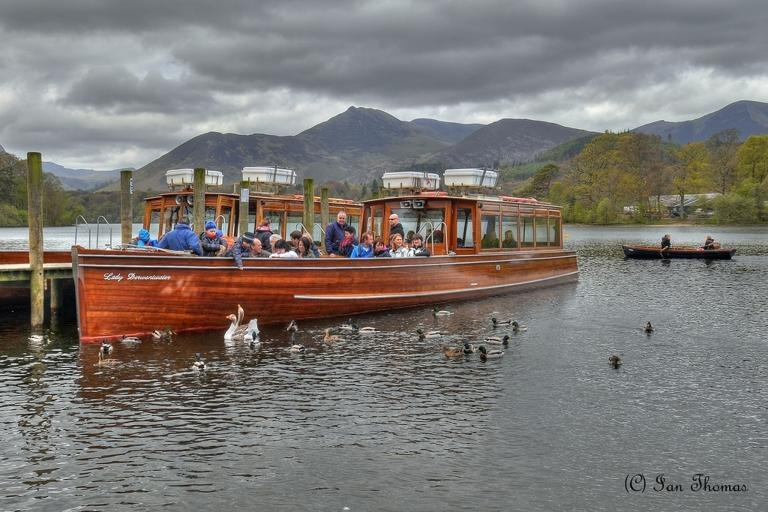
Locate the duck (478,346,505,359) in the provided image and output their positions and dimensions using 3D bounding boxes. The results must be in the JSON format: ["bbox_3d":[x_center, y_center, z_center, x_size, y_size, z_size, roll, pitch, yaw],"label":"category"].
[{"bbox_3d":[3.257,2.973,21.321,0.671,0.382,0.366,1,-5,-5],"label":"duck"}]

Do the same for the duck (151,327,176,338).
[{"bbox_3d":[-7.006,2.476,22.528,0.746,0.267,0.550,-8,15,-33],"label":"duck"}]

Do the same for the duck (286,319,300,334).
[{"bbox_3d":[-3.051,2.419,23.813,0.362,0.438,0.168,1,17,7],"label":"duck"}]

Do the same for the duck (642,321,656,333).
[{"bbox_3d":[9.449,2.609,25.090,0.326,0.329,0.517,0,-3,10],"label":"duck"}]

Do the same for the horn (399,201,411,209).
[{"bbox_3d":[0.952,-2.103,30.241,0.546,0.325,0.278,1,3,8],"label":"horn"}]

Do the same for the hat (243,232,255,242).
[{"bbox_3d":[-4.690,-0.634,24.575,0.363,0.249,0.339,14,14,-5],"label":"hat"}]

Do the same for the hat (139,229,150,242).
[{"bbox_3d":[-8.728,-0.712,25.755,0.417,0.471,0.481,25,-7,-19],"label":"hat"}]

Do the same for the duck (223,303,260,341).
[{"bbox_3d":[-4.682,2.182,22.982,1.079,0.868,1.563,-3,13,-13],"label":"duck"}]

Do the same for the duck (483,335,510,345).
[{"bbox_3d":[3.668,2.754,22.680,0.565,0.204,0.356,0,0,8],"label":"duck"}]

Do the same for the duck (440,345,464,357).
[{"bbox_3d":[2.125,2.921,21.312,0.611,0.251,0.552,1,13,2],"label":"duck"}]

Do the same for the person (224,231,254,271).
[{"bbox_3d":[-4.932,-0.107,24.185,0.414,1.117,1.150,19,-47,-19],"label":"person"}]

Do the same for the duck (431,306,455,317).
[{"bbox_3d":[2.332,2.229,27.300,0.994,0.389,0.300,8,-11,-24],"label":"duck"}]

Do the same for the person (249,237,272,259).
[{"bbox_3d":[-4.432,-0.202,24.354,0.849,0.741,0.515,0,7,16],"label":"person"}]

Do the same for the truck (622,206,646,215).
[{"bbox_3d":[51.611,-9.283,144.814,4.405,1.268,3.375,-1,-3,35],"label":"truck"}]

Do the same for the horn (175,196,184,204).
[{"bbox_3d":[-8.980,-2.443,31.083,0.396,0.352,0.093,-1,-2,26],"label":"horn"}]
